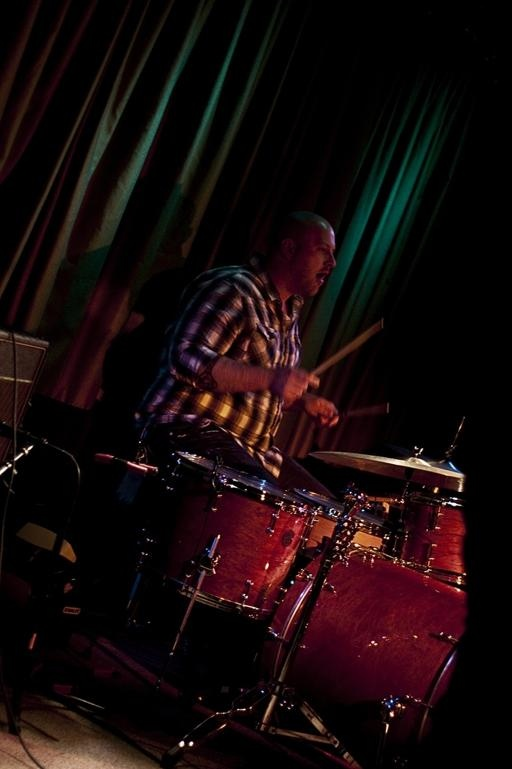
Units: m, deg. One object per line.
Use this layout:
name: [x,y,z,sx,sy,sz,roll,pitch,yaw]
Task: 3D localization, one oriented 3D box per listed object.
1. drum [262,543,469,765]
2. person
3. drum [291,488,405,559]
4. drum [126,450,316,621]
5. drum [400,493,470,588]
drum: [0.303,0.700,1.727,0.441,0.460,0.350,25,3,-16]
person: [-0.041,0.092,2.272,0.621,1.351,0.550,11,2,-6]
drum: [0.258,0.394,1.903,0.240,0.148,0.191,19,1,-14]
drum: [-0.120,0.498,1.894,0.395,0.386,0.394,-12,-44,39]
drum: [0.490,0.434,1.841,0.209,0.213,0.210,6,-15,14]
